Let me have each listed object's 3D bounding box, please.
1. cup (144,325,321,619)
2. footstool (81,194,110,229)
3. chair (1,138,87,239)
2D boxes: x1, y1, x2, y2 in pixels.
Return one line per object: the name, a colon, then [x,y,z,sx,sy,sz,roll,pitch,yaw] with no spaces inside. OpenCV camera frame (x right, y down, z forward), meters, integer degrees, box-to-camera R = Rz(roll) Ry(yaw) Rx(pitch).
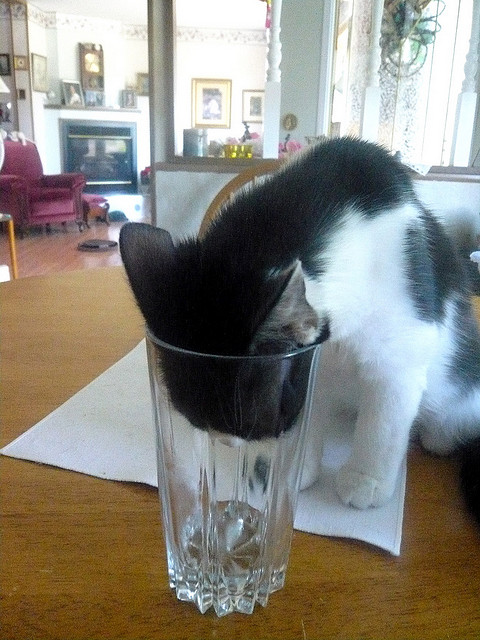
cup: [-0.003,0.069,0.286,0.072,0.148,0.077,10,13,-2]
footstool: [-1.510,-1.178,5.843,0.281,0.367,0.356,-7,20,-21]
chair: [-1.890,-1.263,5.423,0.763,0.785,1.055,-7,22,-20]
